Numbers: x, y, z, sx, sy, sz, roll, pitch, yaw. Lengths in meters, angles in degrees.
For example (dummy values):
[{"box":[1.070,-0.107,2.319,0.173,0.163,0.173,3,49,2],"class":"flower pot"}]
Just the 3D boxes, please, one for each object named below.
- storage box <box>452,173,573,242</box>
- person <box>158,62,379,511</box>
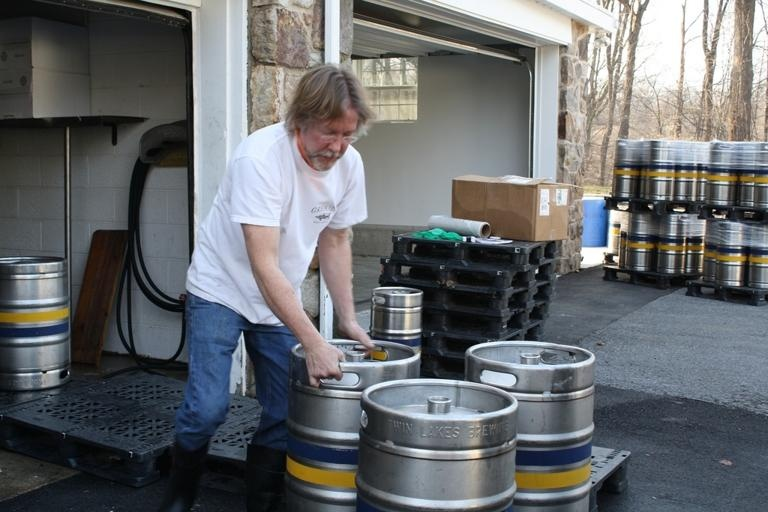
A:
[{"box":[1.345,-0.532,7.185,1.089,0.596,0.639,10,14,44],"class":"storage box"},{"box":[-0.596,0.235,3.766,1.087,2.552,0.955,3,11,-3],"class":"person"}]
